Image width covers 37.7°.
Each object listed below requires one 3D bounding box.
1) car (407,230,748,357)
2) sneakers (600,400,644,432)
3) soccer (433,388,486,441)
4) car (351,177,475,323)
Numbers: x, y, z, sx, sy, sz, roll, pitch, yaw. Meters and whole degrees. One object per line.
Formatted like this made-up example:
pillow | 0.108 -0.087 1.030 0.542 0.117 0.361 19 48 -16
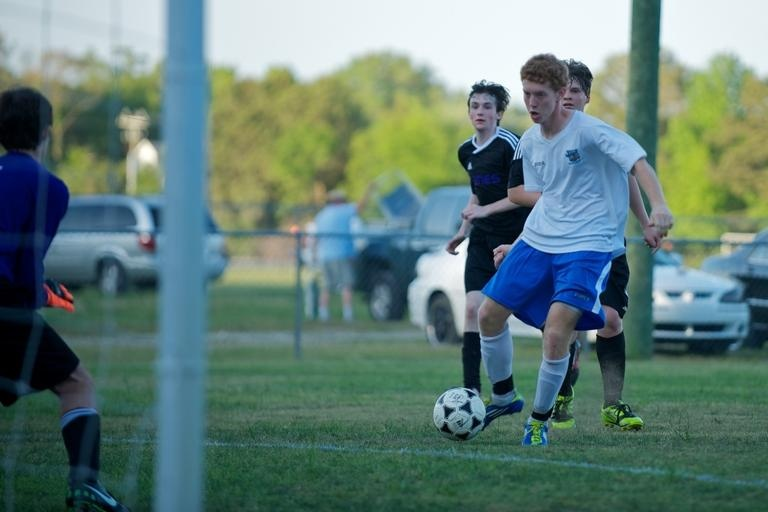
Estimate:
car | 2.696 0.692 15.340 3.607 1.487 1.857 -1 -2 29
sneakers | 2.187 1.490 10.465 0.190 0.221 0.410 -1 -2 -42
soccer | 0.691 1.451 10.389 0.482 0.402 0.312 -1 9 1
car | 0.104 -0.084 17.451 2.266 1.289 1.296 -4 -1 21
